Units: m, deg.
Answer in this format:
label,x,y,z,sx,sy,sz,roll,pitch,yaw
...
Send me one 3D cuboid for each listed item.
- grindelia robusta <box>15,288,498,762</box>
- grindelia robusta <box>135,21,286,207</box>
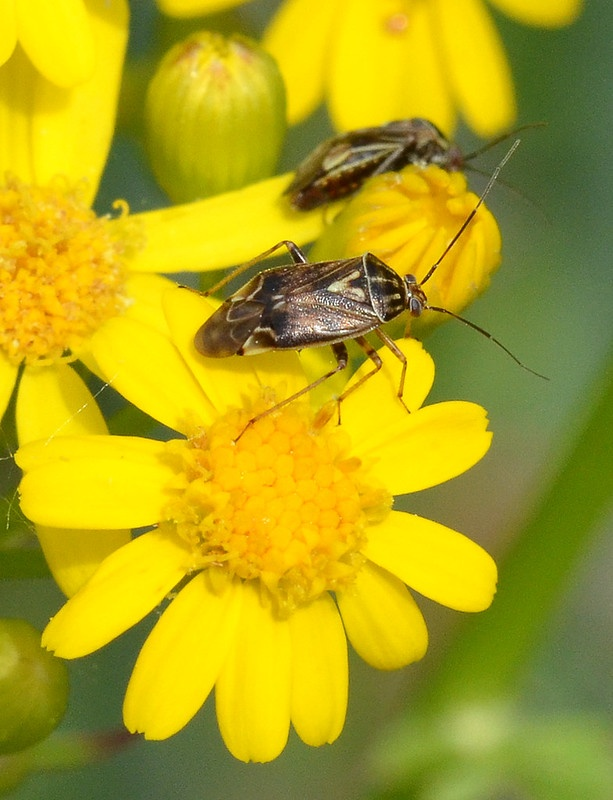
label,x,y,z,sx,sy,sz,roll,pitch,yaw
grindelia robusta,-0.063,0.197,1.460,0.765,0.465,0.718,10,50,13
grindelia robusta,-0.194,-0.530,1.762,0.310,0.367,0.229,8,38,-4
